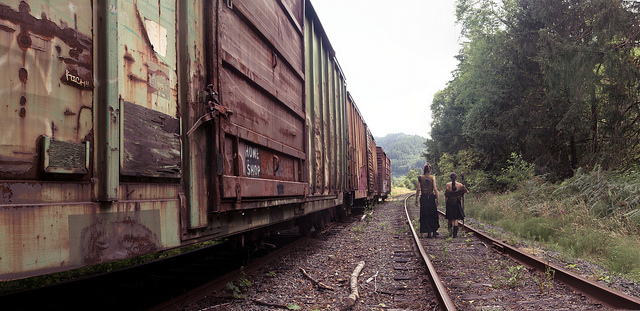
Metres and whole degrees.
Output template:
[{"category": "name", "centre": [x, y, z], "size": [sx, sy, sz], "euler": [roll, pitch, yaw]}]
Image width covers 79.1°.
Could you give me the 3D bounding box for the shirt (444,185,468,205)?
[{"category": "shirt", "centre": [4.726, 1.421, 13.753], "size": [0.694, 0.649, 0.351], "euler": [-10, 16, -1]}]

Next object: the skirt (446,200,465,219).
[{"category": "skirt", "centre": [4.677, 1.997, 13.772], "size": [0.835, 0.827, 0.591], "euler": [-1, -11, 3]}]

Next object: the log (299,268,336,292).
[{"category": "log", "centre": [-0.081, 3.171, 9.747], "size": [0.273, 0.261, 1.521], "euler": [-7, 3, -23]}]

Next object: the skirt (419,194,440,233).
[{"category": "skirt", "centre": [3.727, 2.029, 13.427], "size": [0.635, 1.339, 0.580], "euler": [-6, -8, 11]}]
